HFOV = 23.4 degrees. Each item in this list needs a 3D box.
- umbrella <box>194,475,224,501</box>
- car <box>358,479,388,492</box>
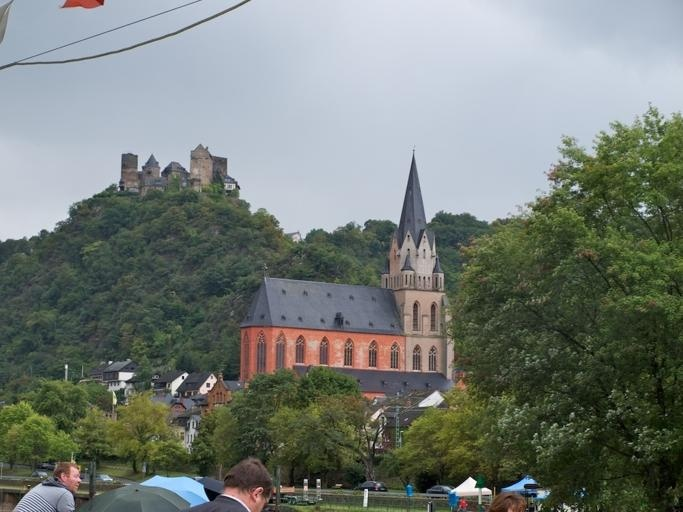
[{"bbox_3d":[-7.619,13.773,98.680,1.736,0.770,1.706,-2,-49,10],"label":"umbrella"},{"bbox_3d":[2.860,19.771,140.899,1.911,0.897,1.055,3,-2,27],"label":"car"}]
